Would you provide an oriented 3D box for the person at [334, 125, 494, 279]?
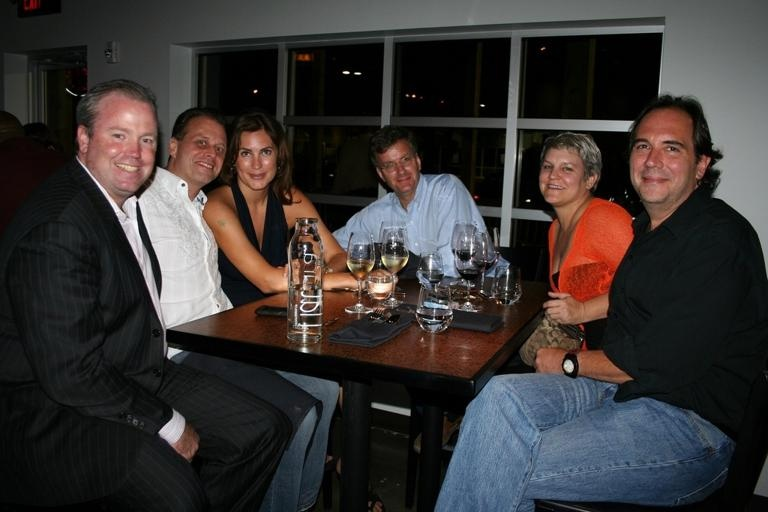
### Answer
[{"bbox_3d":[0.252,-0.392,3.581,0.984,0.818,0.560,-7,26,24],"label":"person"}]

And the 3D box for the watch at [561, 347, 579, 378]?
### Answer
[{"bbox_3d":[0.784,0.456,2.230,0.065,0.105,0.098,8,6,40],"label":"watch"}]

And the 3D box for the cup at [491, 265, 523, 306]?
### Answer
[{"bbox_3d":[0.573,0.154,2.632,0.169,0.233,0.169,0,-2,0],"label":"cup"}]

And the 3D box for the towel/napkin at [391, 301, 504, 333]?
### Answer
[{"bbox_3d":[0.309,0.277,2.276,0.281,0.042,0.173,7,9,30],"label":"towel/napkin"}]

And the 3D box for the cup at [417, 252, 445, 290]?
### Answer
[{"bbox_3d":[0.194,0.076,2.496,0.143,0.247,0.150,0,1,0],"label":"cup"}]

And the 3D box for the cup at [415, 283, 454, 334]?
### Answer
[{"bbox_3d":[0.185,0.218,2.152,0.172,0.222,0.173,0,-4,0],"label":"cup"}]

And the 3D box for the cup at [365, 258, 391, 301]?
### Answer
[{"bbox_3d":[-0.017,0.128,2.531,0.132,0.133,0.169,3,8,8],"label":"cup"}]

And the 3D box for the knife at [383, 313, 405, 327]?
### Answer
[{"bbox_3d":[0.032,0.265,2.192,0.025,0.013,0.090,41,35,28],"label":"knife"}]

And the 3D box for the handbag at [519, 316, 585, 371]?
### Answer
[{"bbox_3d":[0.770,0.398,2.428,0.147,0.208,0.115,38,21,-7],"label":"handbag"}]

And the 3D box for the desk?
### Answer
[{"bbox_3d":[-0.120,0.544,2.191,0.590,0.560,1.115,8,14,24],"label":"desk"}]
